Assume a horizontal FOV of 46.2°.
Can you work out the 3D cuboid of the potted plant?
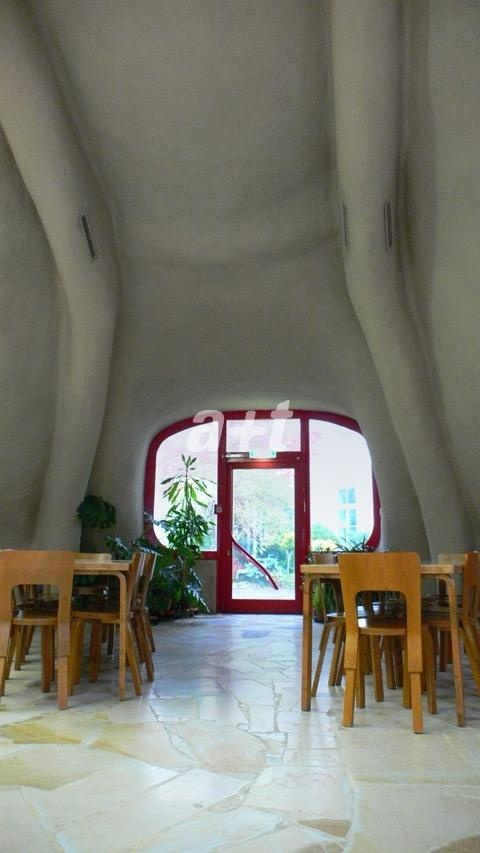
[{"bbox_3d":[-1.255,1.655,8.565,1.671,3.236,1.754,-3,-8,0],"label":"potted plant"}]

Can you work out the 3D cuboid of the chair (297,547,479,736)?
[{"bbox_3d":[0.714,0.924,2.807,0.764,0.980,0.901,0,-5,5],"label":"chair"}]
